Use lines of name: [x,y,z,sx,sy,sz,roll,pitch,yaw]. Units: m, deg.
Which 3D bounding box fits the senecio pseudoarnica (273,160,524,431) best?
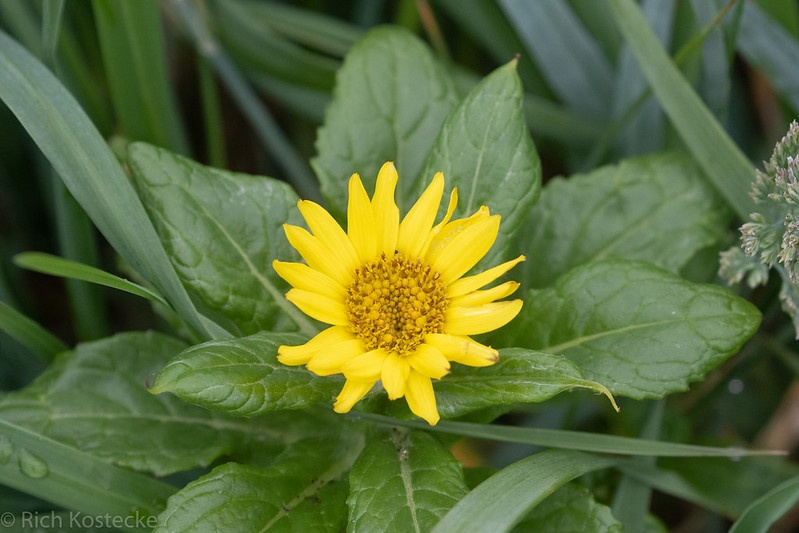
senecio pseudoarnica: [-0.005,0.025,1.677,0.575,0.395,0.380,13,29,9]
